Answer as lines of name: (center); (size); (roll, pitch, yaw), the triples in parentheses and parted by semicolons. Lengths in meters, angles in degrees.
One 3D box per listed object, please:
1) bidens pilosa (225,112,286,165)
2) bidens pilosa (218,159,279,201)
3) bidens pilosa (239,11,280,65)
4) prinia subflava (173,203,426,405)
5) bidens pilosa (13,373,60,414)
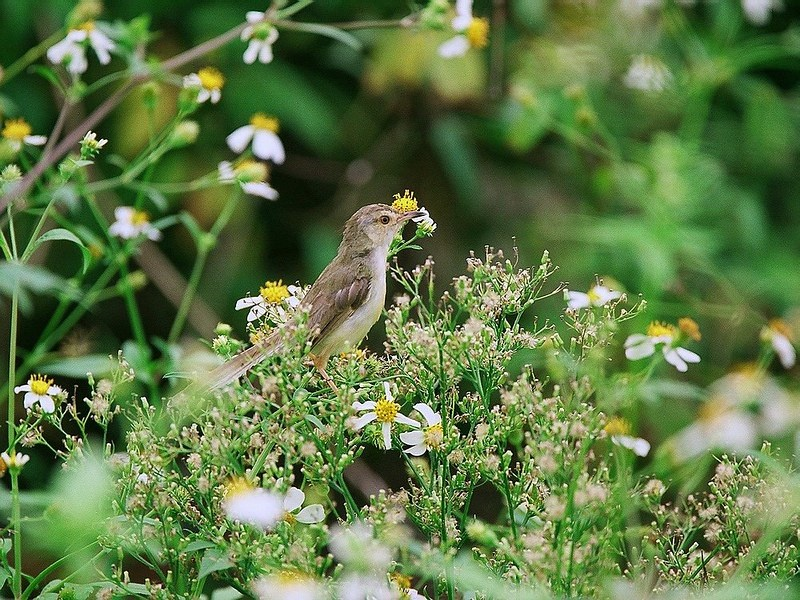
bidens pilosa: (-0.614, -0.667, 3.898); (0.217, 0.234, 0.315); (-3, 35, -4)
bidens pilosa: (-0.607, -0.477, 3.581); (0.211, 0.166, 0.241); (-14, 37, -19)
bidens pilosa: (-0.529, -0.982, 3.339); (0.119, 0.065, 0.176); (-23, 17, 16)
prinia subflava: (-0.415, 0.001, 3.974); (1.012, 0.839, 0.328); (-2, 2, -15)
bidens pilosa: (-1.179, 0.338, 2.983); (0.163, 0.074, 0.144); (-5, 28, -35)
